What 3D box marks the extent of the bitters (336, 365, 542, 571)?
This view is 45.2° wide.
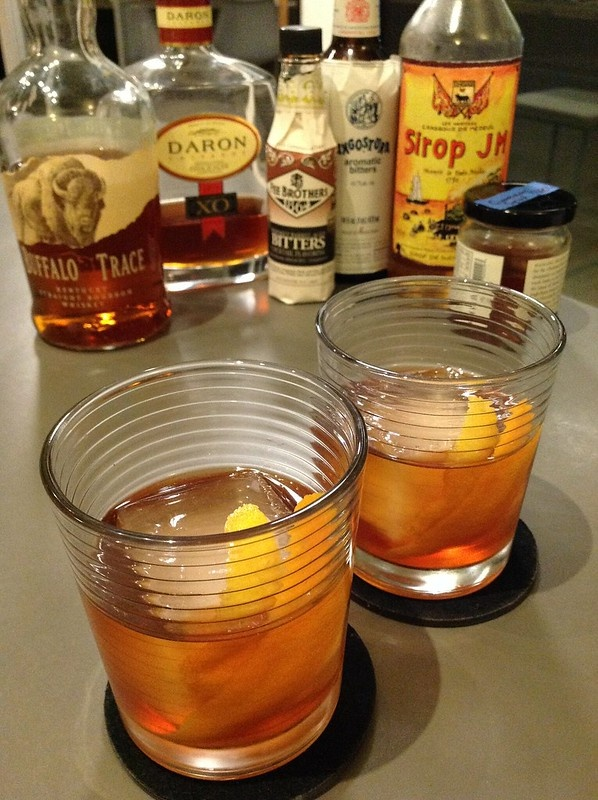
[{"bbox_3d":[0.070,0.030,0.376,0.090,0.068,0.094,2,30,2],"label":"bitters"}]
